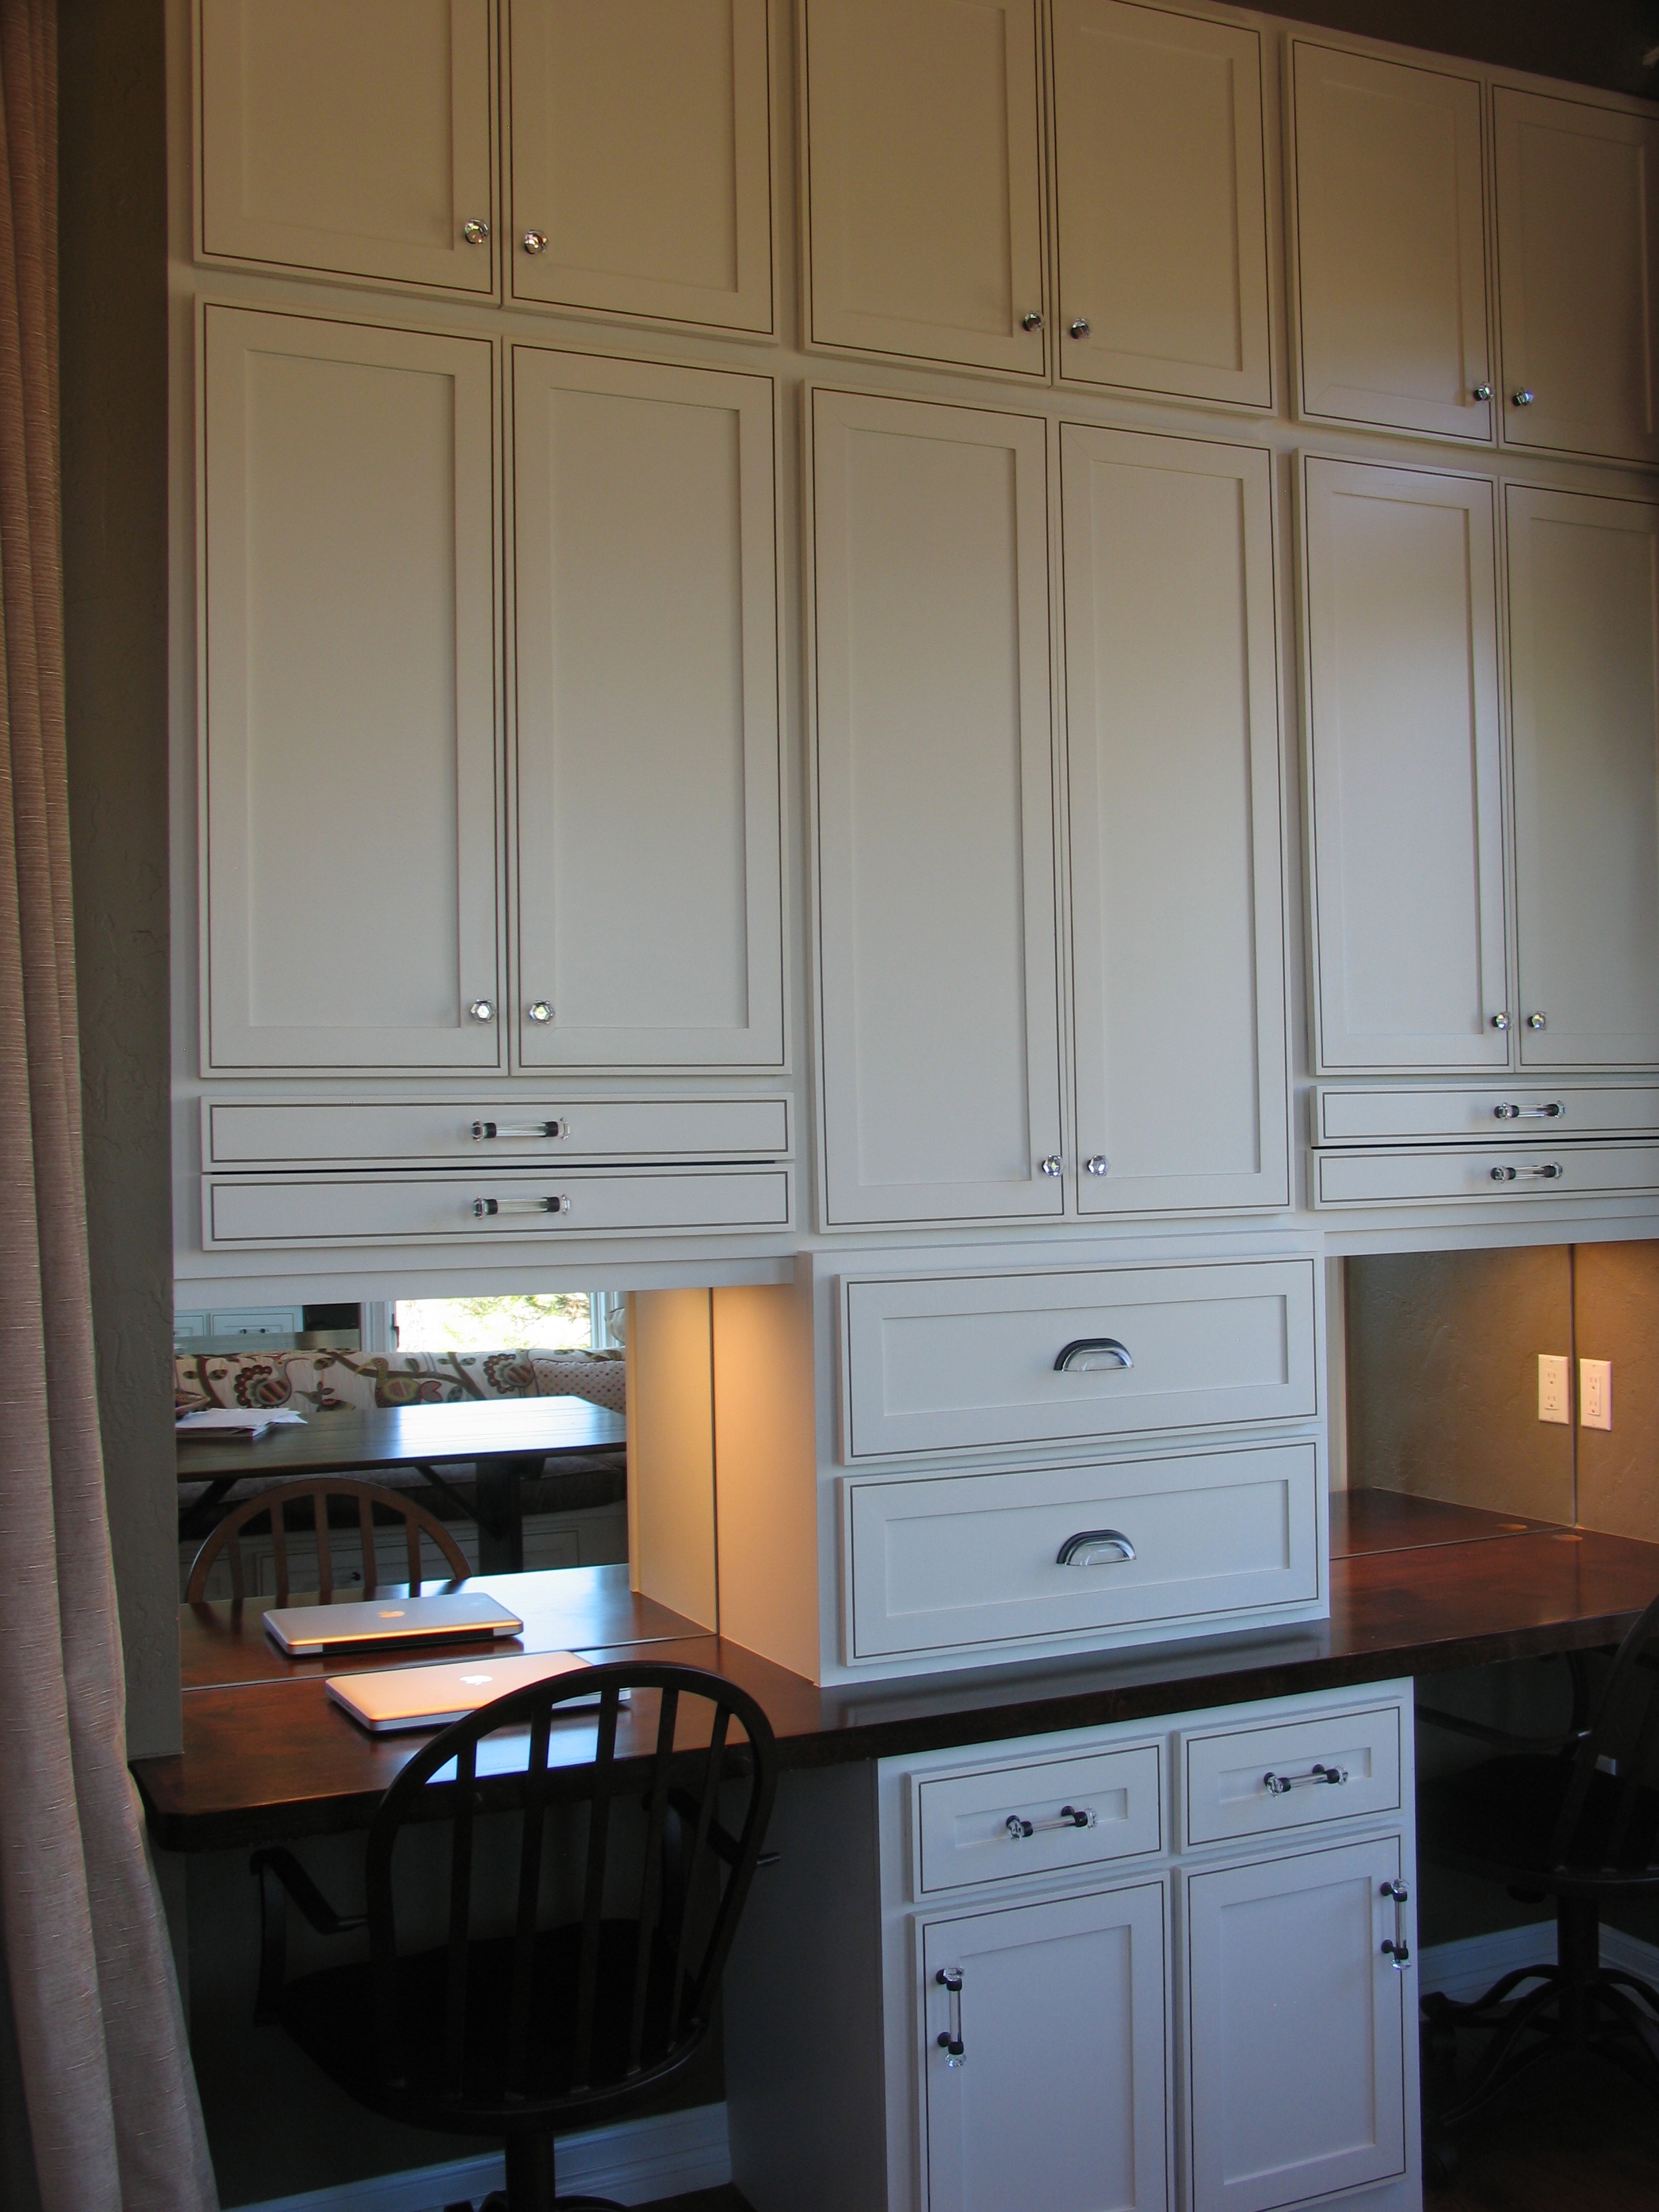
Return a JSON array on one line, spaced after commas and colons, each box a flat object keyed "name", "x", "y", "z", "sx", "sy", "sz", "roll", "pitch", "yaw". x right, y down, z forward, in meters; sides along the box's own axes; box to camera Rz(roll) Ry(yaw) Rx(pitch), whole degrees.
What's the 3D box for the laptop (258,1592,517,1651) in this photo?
[{"name": "laptop", "x": -0.523, "y": 0.622, "z": 2.353, "sx": 0.192, "sy": 0.018, "sz": 0.107, "roll": 0, "pitch": 0, "yaw": -23}]
